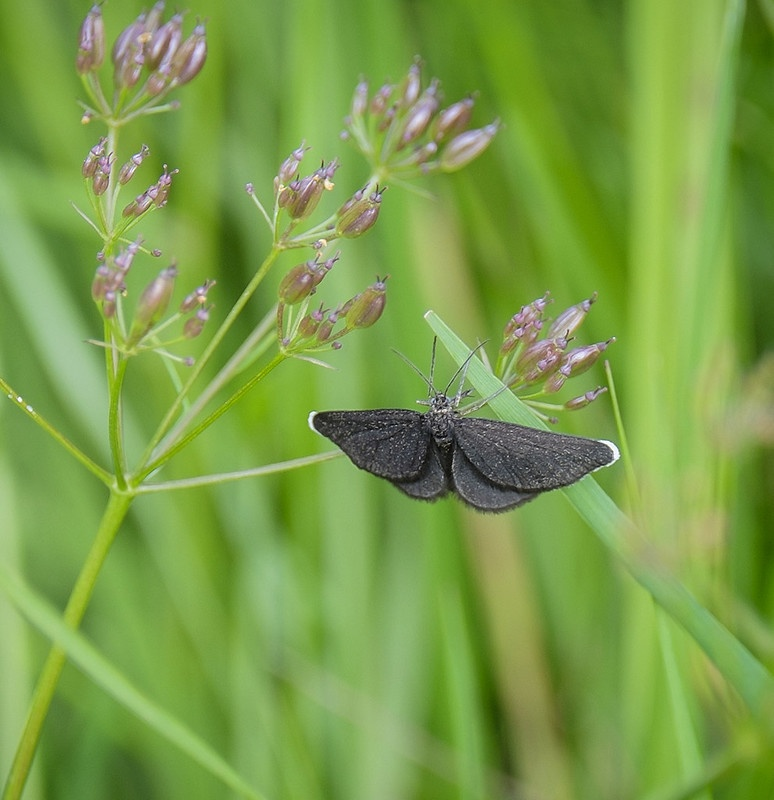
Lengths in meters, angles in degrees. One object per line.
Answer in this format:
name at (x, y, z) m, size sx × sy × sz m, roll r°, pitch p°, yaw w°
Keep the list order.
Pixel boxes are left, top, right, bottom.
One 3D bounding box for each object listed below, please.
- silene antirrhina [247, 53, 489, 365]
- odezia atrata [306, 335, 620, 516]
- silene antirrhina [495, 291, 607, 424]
silene antirrhina at (-0.028, -0.276, 1.358) m, size 0.268 × 0.558 × 0.209 m, roll 28°, pitch -28°, yaw 2°
odezia atrata at (0.123, -0.018, 1.235) m, size 0.284 × 0.331 × 0.353 m, roll 7°, pitch -83°, yaw 41°
silene antirrhina at (0.252, -0.039, 1.362) m, size 0.130 × 0.189 × 0.247 m, roll -1°, pitch -66°, yaw -5°
